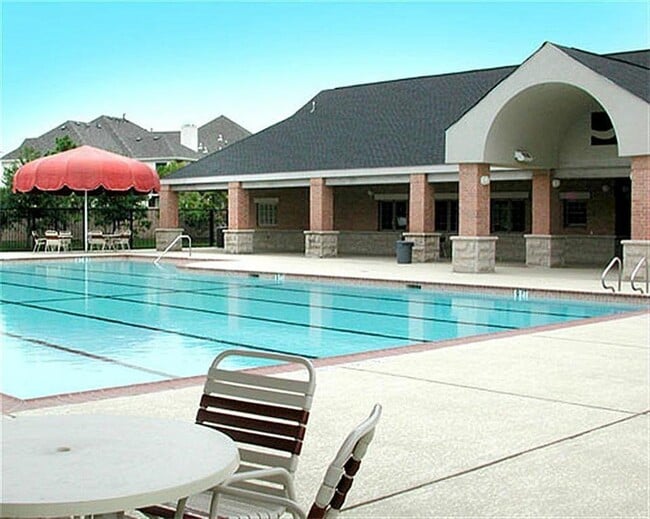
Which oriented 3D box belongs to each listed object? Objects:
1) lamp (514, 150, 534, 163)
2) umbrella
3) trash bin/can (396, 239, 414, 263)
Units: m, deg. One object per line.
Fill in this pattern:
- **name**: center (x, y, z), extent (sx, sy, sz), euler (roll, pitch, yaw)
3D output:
- **lamp**: center (7.136, -3.706, 22.092), extent (0.451, 0.350, 0.490), euler (3, 5, 40)
- **umbrella**: center (-11.151, -2.950, 29.368), extent (5.279, 5.104, 4.290), euler (0, 2, 11)
- **trash bin/can**: center (3.468, -0.333, 26.586), extent (0.788, 1.063, 0.826), euler (0, 1, 38)
